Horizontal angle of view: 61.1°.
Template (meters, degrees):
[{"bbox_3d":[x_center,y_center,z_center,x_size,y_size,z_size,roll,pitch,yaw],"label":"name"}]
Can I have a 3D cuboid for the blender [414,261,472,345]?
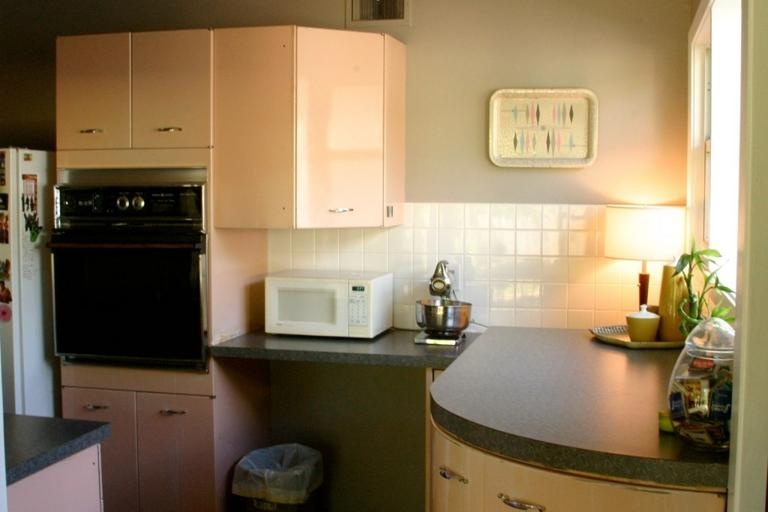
[{"bbox_3d":[0.340,0.254,3.641,0.305,0.426,0.434,2,12,8],"label":"blender"}]

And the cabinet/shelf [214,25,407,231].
[{"bbox_3d":[-0.436,-0.682,3.487,1.130,1.105,0.581,0,2,4],"label":"cabinet/shelf"}]

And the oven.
[{"bbox_3d":[-1.356,0.077,3.779,0.953,1.020,0.755,0,4,-4],"label":"oven"}]

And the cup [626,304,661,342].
[{"bbox_3d":[1.218,0.323,3.110,0.138,0.163,0.146,1,-5,0],"label":"cup"}]

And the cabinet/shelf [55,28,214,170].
[{"bbox_3d":[-1.363,-0.825,3.657,0.876,0.719,0.305,0,2,4],"label":"cabinet/shelf"}]

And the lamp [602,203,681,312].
[{"bbox_3d":[1.368,0.002,3.516,0.316,0.504,0.316,-6,-3,-6],"label":"lamp"}]

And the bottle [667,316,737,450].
[{"bbox_3d":[1.038,0.407,2.049,0.233,0.371,0.215,0,12,0],"label":"bottle"}]

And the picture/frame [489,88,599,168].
[{"bbox_3d":[0.940,-0.734,3.711,0.448,0.344,0.047,1,2,10],"label":"picture/frame"}]

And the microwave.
[{"bbox_3d":[-0.313,0.268,3.730,0.682,0.368,0.370,2,12,8],"label":"microwave"}]
